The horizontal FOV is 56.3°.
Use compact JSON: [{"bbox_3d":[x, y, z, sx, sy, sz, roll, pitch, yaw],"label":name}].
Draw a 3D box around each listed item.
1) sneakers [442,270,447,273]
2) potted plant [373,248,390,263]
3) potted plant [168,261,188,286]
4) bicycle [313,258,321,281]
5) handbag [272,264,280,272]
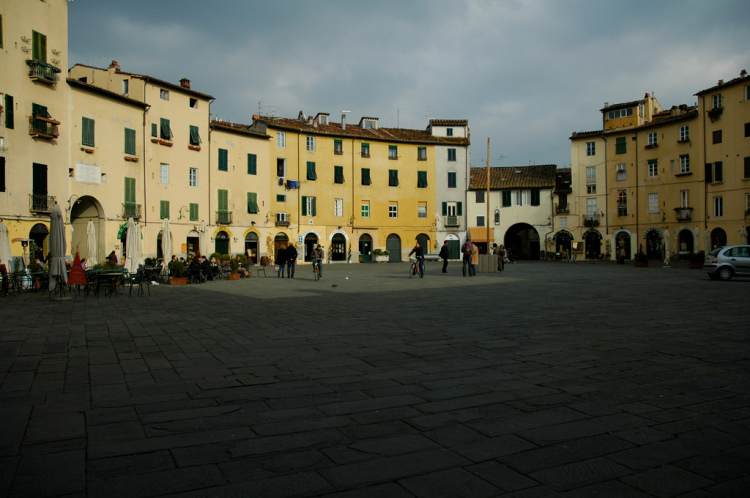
[{"bbox_3d":[3.505,1.164,35.176,0.139,0.112,0.111,15,6,-23],"label":"sneakers"},{"bbox_3d":[0.398,0.576,56.732,1.357,1.289,1.020,1,-7,-21],"label":"potted plant"},{"bbox_3d":[-7.486,0.911,26.988,0.777,1.024,0.781,-1,2,-4],"label":"potted plant"},{"bbox_3d":[-2.451,0.873,29.625,0.280,0.937,0.849,-3,9,-11],"label":"bicycle"},{"bbox_3d":[-5.502,1.108,38.917,0.670,0.322,0.867,1,-3,-13],"label":"handbag"}]
